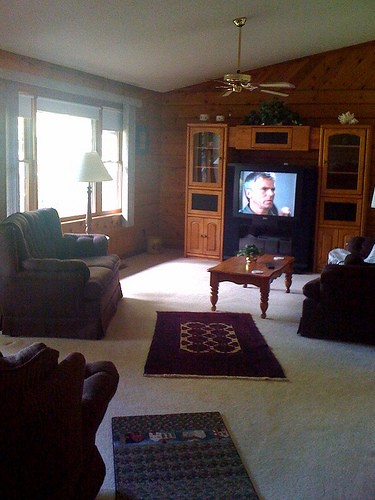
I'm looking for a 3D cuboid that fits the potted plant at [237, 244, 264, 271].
[{"bbox_3d":[0.733,0.066,4.343,0.278,0.237,0.259,-6,11,-20],"label":"potted plant"}]

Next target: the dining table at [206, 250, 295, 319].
[{"bbox_3d":[0.714,0.320,4.371,0.651,0.591,1.116,7,9,28],"label":"dining table"}]

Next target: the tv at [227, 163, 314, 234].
[{"bbox_3d":[1.345,-0.890,6.216,1.448,1.089,0.770,8,20,19],"label":"tv"}]
